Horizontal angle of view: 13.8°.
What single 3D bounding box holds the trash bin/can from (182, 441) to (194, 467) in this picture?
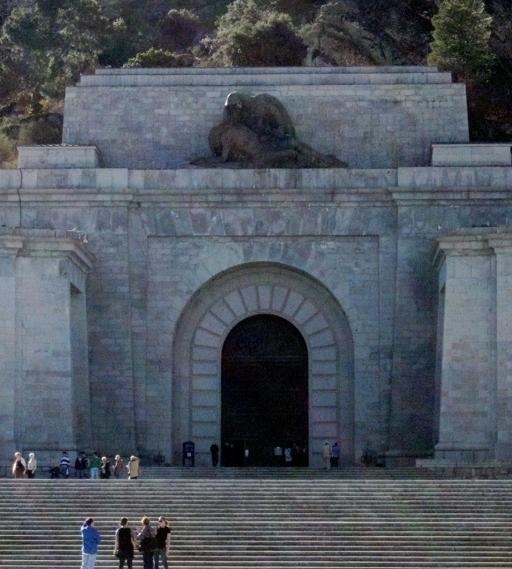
[{"bbox_3d":[-2.217,5.171,66.159,0.376,0.862,1.252,-1,-8,-3],"label":"trash bin/can"}]
